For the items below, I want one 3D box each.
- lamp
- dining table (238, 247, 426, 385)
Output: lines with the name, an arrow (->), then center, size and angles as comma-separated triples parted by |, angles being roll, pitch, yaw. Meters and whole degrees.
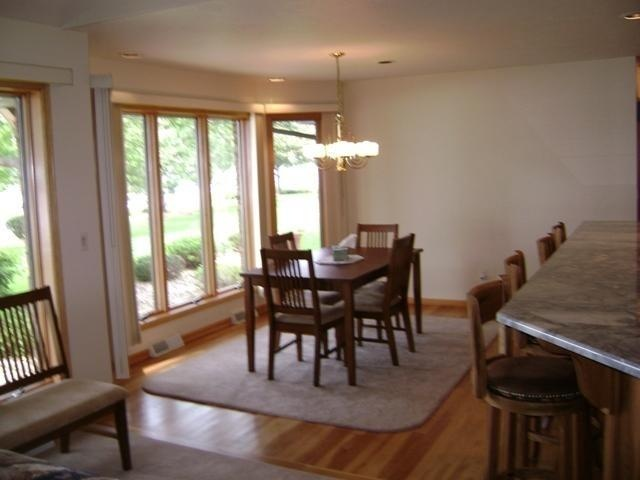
lamp -> 0.191, -1.250, 4.761 | 0.751, 1.105, 0.751 | 2, 13, 17
dining table -> -0.113, 0.602, 4.365 | 0.609, 0.983, 0.666 | 7, 7, 40
